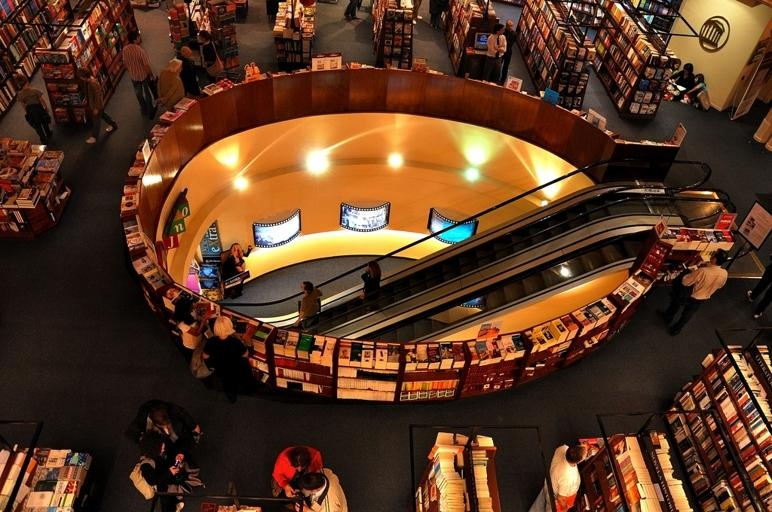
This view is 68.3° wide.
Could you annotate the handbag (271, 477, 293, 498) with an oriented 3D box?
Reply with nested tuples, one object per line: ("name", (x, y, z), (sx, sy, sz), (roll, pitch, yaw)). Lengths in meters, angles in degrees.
("handbag", (-1.604, 3.618, 8.926), (0.322, 0.426, 0.471), (6, -13, -7))

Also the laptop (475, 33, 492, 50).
("laptop", (2.627, -5.797, 15.392), (0.466, 0.269, 0.465), (3, -56, -11))

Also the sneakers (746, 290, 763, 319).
("sneakers", (7.866, 1.019, 12.220), (0.189, 0.620, 0.248), (-3, -23, 21))

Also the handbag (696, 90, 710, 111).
("handbag", (8.991, -4.428, 16.221), (0.448, 0.509, 0.162), (31, -14, -27))

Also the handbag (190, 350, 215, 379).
("handbag", (-3.149, 1.859, 9.846), (0.433, 0.346, 0.607), (9, -37, -3))

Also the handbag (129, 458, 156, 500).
("handbag", (-3.725, 3.434, 8.877), (0.401, 0.531, 0.452), (15, -28, -24))
